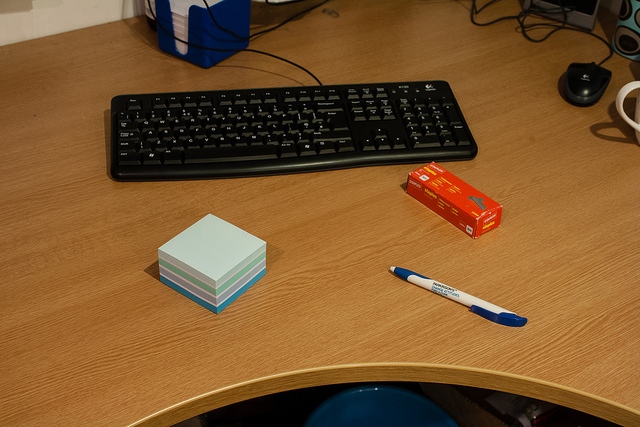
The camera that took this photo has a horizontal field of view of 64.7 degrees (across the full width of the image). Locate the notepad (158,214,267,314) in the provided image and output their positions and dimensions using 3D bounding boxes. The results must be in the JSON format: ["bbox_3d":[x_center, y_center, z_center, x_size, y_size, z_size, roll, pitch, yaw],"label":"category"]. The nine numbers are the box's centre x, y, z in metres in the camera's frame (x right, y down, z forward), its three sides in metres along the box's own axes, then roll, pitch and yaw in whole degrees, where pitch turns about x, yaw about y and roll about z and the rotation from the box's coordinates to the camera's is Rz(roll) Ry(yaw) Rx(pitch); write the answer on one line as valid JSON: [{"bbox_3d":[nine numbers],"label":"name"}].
[{"bbox_3d":[-0.121,0.077,0.788,0.169,0.121,0.165,1,38,-4],"label":"notepad"}]

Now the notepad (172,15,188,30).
[{"bbox_3d":[-0.292,-0.400,1.061,0.050,0.027,0.012,11,22,29],"label":"notepad"}]

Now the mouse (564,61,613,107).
[{"bbox_3d":[0.557,-0.287,1.061,0.100,0.034,0.098,15,80,6],"label":"mouse"}]

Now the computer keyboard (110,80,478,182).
[{"bbox_3d":[-0.047,-0.144,0.918,0.354,0.038,0.207,-7,34,-14],"label":"computer keyboard"}]

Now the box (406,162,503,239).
[{"bbox_3d":[0.229,-0.032,0.859,0.077,0.037,0.152,-32,51,-18],"label":"box"}]
